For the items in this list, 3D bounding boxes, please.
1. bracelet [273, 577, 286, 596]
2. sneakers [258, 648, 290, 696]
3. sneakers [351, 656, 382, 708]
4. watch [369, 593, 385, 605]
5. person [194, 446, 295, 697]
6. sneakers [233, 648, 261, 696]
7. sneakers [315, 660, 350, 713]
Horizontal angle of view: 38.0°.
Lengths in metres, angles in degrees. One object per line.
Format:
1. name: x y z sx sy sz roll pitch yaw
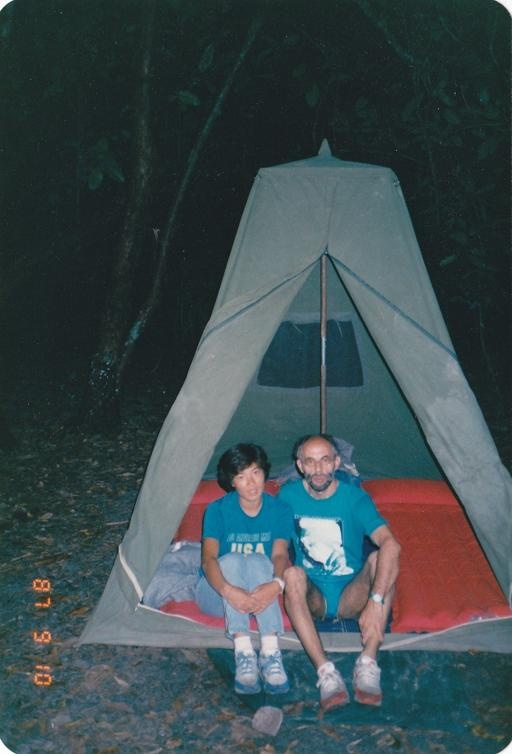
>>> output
1. bracelet: 0.087 0.925 3.265 0.062 0.052 0.068 5 0 -43
2. sneakers: 0.080 1.276 3.207 0.130 0.206 0.177 -2 14 -1
3. sneakers: 0.451 1.255 3.054 0.092 0.105 0.240 3 -12 6
4. watch: 0.516 0.957 3.180 0.056 0.048 0.028 0 14 5
5. person: -0.054 0.846 3.373 0.450 0.981 0.737 -3 14 -4
6. sneakers: -0.038 1.266 3.182 0.116 0.201 0.156 -2 14 -2
7. sneakers: 0.308 1.248 2.940 0.094 0.085 0.230 -12 -9 1
